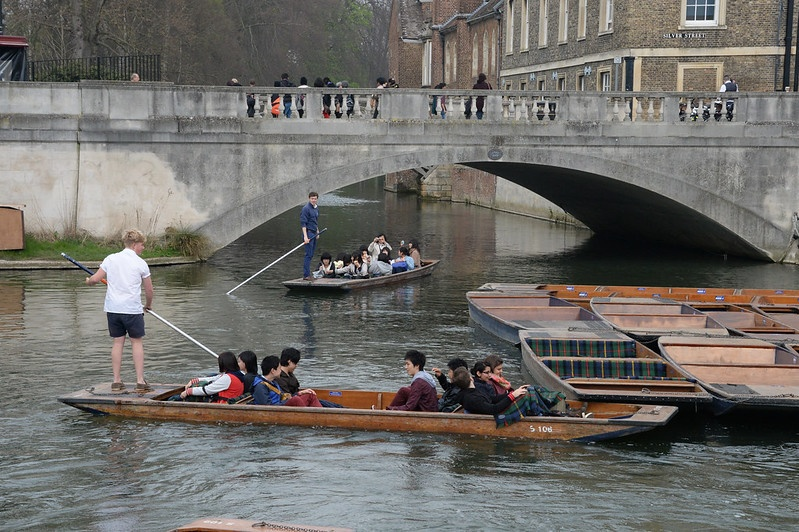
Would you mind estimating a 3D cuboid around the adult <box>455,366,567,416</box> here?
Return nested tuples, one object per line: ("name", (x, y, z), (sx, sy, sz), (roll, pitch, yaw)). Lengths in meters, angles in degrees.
("adult", (1.884, 2.590, 28.996), (1.505, 0.915, 1.011), (-1, 15, 2))

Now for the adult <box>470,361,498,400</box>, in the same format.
("adult", (1.691, 2.316, 29.179), (0.400, 0.799, 0.847), (4, 14, 20))

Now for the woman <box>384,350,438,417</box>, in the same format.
("woman", (0.120, 2.399, 29.064), (1.253, 1.650, 1.045), (4, 4, 23))

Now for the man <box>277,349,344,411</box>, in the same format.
("man", (-1.829, 2.438, 29.444), (1.768, 1.271, 0.780), (9, 4, -1))

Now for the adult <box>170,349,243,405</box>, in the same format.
("adult", (-4.074, 2.423, 29.527), (1.711, 1.157, 0.973), (-2, -2, 9))

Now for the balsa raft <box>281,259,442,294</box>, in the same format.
("balsa raft", (-1.072, 0.349, 37.776), (4.386, 0.632, 1.068), (-1, 4, -43))

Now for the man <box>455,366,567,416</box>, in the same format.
("man", (1.954, 2.596, 28.952), (1.533, 0.922, 1.017), (0, 13, 14))

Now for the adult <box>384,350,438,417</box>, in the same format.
("adult", (0.374, 2.419, 28.909), (1.253, 1.650, 1.045), (4, 4, 23))

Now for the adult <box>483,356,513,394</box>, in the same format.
("adult", (2.008, 2.308, 29.372), (0.551, 0.917, 0.952), (-4, 9, 7))

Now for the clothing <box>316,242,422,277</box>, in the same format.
("clothing", (-0.778, -0.059, 38.340), (2.990, 0.307, 1.008), (-6, 9, -39))

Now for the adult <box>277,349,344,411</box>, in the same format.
("adult", (-1.849, 2.409, 29.428), (1.663, 1.195, 0.719), (8, 6, 4))

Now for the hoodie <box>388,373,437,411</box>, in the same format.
("hoodie", (0.324, 2.597, 29.181), (0.964, 0.673, 0.706), (-2, 1, 13))

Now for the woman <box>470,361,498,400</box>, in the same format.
("woman", (1.684, 2.326, 29.154), (0.361, 0.751, 0.785), (1, 7, 18))

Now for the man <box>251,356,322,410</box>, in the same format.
("man", (-2.256, 2.519, 29.149), (1.545, 1.076, 0.753), (6, 7, 12))

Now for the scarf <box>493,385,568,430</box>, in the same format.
("scarf", (2.715, 2.843, 28.841), (1.258, 0.487, 0.792), (-17, -3, -37))

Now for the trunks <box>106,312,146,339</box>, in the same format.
("trunks", (-5.671, 1.179, 29.042), (0.897, 0.637, 0.485), (2, 7, 6))

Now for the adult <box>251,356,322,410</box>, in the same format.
("adult", (-2.240, 2.547, 29.227), (1.616, 1.047, 0.701), (8, 8, 0))

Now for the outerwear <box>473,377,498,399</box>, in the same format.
("outerwear", (1.754, 2.496, 28.954), (0.339, 0.154, 0.431), (18, 4, -31))

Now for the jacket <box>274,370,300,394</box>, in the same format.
("jacket", (-2.385, 2.410, 29.318), (0.253, 0.403, 0.434), (-21, -3, 18))

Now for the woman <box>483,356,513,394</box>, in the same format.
("woman", (1.996, 2.302, 29.334), (0.564, 0.917, 0.923), (-2, 9, 13))
